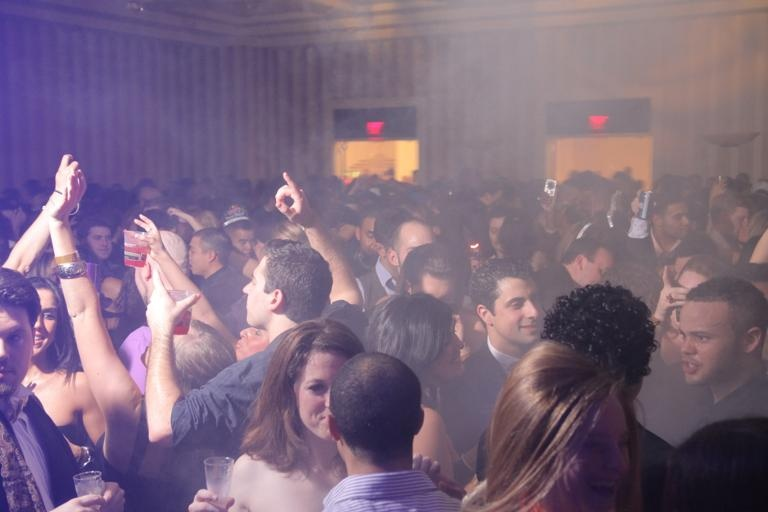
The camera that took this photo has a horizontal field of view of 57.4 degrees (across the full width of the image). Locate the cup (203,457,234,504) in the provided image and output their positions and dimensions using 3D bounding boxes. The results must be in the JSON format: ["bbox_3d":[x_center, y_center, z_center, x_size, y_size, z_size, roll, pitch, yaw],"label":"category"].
[{"bbox_3d":[-0.957,1.310,4.086,0.145,0.293,0.229,-1,7,-14],"label":"cup"}]

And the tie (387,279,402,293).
[{"bbox_3d":[0.057,0.238,5.365,0.096,0.093,0.026,-37,-19,28],"label":"tie"}]

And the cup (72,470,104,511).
[{"bbox_3d":[-1.764,1.398,4.193,0.187,0.199,0.186,-3,-2,0],"label":"cup"}]

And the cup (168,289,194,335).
[{"bbox_3d":[-1.322,0.376,4.546,0.115,0.300,0.234,-2,7,-17],"label":"cup"}]
